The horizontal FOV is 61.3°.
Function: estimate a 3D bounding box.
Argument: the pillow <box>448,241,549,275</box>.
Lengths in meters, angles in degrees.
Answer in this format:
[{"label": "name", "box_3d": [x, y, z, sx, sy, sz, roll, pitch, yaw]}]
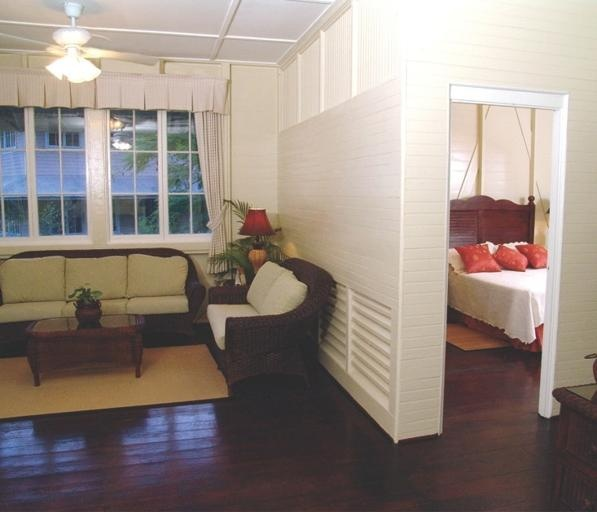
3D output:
[{"label": "pillow", "box_3d": [2.487, 0.028, 6.239, 1.235, 0.311, 0.595, -4, 8, -19]}]

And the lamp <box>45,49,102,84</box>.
[{"label": "lamp", "box_3d": [-1.643, -1.384, 3.658, 0.340, 0.207, 0.167, -5, 9, -24]}]

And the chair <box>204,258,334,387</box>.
[{"label": "chair", "box_3d": [-0.325, 0.616, 4.607, 1.077, 0.982, 1.248, 2, 7, -15]}]

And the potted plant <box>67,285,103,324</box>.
[{"label": "potted plant", "box_3d": [-2.035, 0.479, 4.758, 0.325, 0.402, 0.310, 0, 1, -35]}]
